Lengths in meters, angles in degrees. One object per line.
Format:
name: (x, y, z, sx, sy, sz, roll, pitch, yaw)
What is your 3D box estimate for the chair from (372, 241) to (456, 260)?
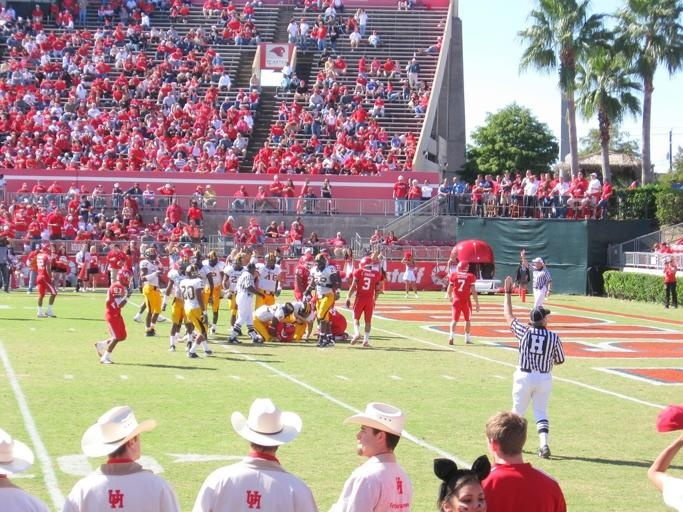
chair: (3.289, -0.251, 58.534, 3.318, 0.542, 0.667, 2, -1, -8)

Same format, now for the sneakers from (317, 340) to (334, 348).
sneakers: (-0.509, 2.709, 41.355, 0.524, 0.252, 0.200, 2, 7, -4)

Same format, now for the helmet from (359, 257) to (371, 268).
helmet: (0.744, 0.146, 41.471, 0.354, 0.278, 0.462, 2, -1, 1)

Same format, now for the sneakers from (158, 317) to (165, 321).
sneakers: (-6.312, 2.167, 46.161, 0.224, 0.120, 0.151, 4, -6, 11)

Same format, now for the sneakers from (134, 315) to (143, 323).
sneakers: (-6.932, 2.107, 44.766, 0.173, 0.290, 0.270, 16, -3, 15)

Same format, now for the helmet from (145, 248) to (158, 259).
helmet: (-5.998, -0.134, 41.580, 0.320, 0.372, 0.300, 2, 9, 13)

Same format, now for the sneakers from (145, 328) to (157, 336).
sneakers: (-6.100, 2.416, 42.390, 0.212, 0.203, 0.438, 2, -2, 22)

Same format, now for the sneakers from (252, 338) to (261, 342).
sneakers: (-2.646, 2.603, 41.740, 0.338, 0.137, 0.190, 4, -2, -43)

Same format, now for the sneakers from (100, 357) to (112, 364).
sneakers: (-6.797, 2.982, 38.044, 0.355, 0.275, 0.145, 0, 5, 5)

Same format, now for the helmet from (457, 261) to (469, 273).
helmet: (3.932, 0.302, 43.748, 0.301, 0.447, 0.429, 8, -7, 25)
